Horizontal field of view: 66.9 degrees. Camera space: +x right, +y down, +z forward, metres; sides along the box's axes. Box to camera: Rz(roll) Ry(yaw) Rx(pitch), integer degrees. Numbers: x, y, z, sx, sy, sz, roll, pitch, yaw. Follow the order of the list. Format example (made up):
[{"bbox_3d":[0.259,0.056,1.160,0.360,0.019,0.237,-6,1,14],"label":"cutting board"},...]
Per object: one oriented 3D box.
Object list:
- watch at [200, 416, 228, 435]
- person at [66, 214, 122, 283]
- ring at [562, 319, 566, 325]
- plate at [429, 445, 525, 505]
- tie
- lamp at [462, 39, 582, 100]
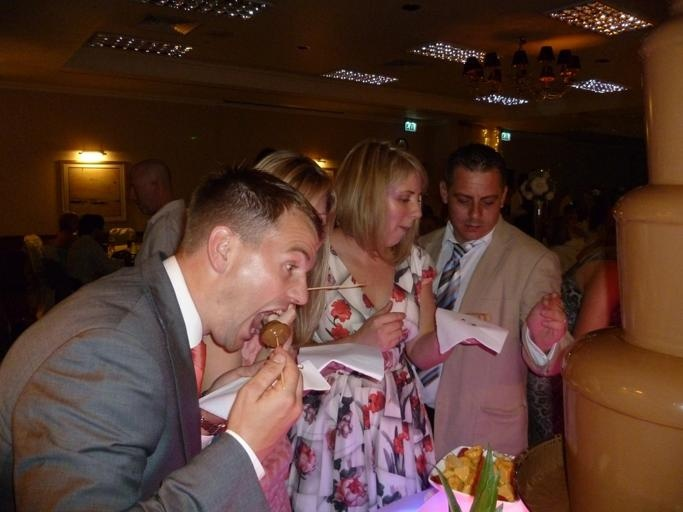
[{"bbox_3d":[-0.324,0.426,1.301,0.054,0.014,0.057,5,4,-25],"label":"watch"},{"bbox_3d":[-2.753,-0.082,5.801,0.498,0.803,0.506,7,11,-3],"label":"person"},{"bbox_3d":[0.776,0.229,1.801,0.012,0.017,0.005,-14,7,-21],"label":"ring"},{"bbox_3d":[0.350,0.554,1.380,0.217,0.109,0.323,-1,6,14],"label":"plate"},{"bbox_3d":[0.505,0.247,2.486,0.186,0.730,0.116,9,-20,38],"label":"tie"},{"bbox_3d":[2.414,-2.526,6.915,0.868,0.471,0.883,-2,3,-35],"label":"lamp"}]
